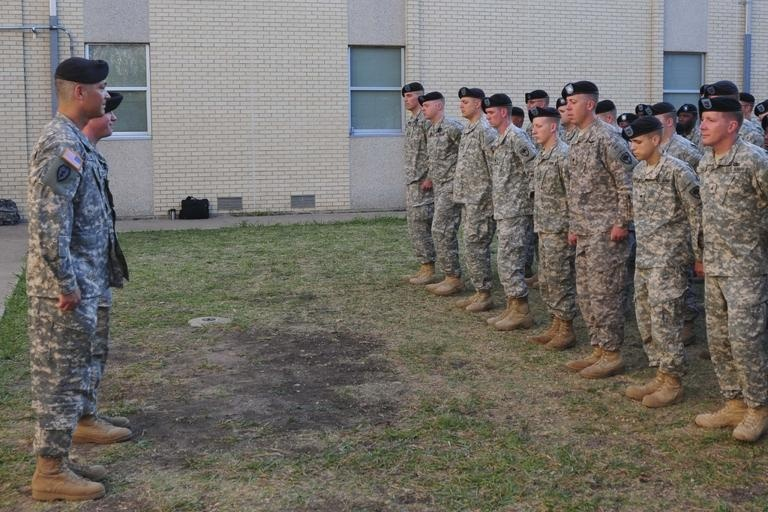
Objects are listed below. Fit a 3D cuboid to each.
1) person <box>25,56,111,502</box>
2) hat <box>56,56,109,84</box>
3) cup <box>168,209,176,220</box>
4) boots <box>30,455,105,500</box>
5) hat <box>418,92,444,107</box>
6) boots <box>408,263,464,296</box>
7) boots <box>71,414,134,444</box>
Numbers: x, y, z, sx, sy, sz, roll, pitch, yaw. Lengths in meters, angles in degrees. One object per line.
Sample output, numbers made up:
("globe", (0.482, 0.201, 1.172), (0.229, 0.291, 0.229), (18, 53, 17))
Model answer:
("person", (-2.506, 0.167, 7.629), (0.699, 3.369, 1.010), (-3, 13, -12))
("hat", (-2.422, -1.492, 7.757), (0.349, 0.124, 0.251), (-9, 16, -33))
("cup", (-3.912, -0.755, 17.760), (0.137, 0.183, 0.283), (-3, 12, -13))
("boots", (-2.462, 1.766, 7.528), (0.450, 0.261, 0.477), (1, 3, -12))
("hat", (0.519, -1.839, 11.453), (0.236, 0.084, 0.183), (4, 13, 37))
("boots", (0.648, 0.307, 11.850), (0.406, 0.232, 0.742), (-2, 9, -20))
("boots", (-2.369, 1.475, 8.167), (0.307, 0.105, 0.353), (-1, 4, -6))
